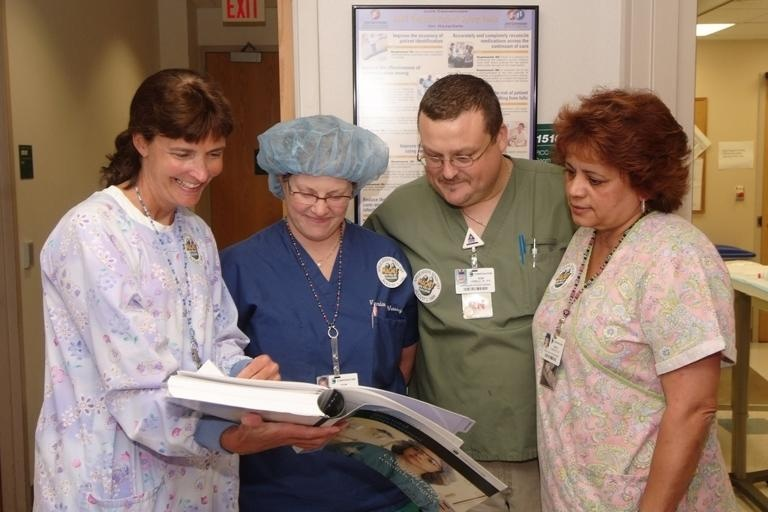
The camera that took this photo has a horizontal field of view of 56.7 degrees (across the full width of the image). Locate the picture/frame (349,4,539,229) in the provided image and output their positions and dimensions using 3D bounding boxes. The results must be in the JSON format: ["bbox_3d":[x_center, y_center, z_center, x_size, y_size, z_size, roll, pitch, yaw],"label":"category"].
[{"bbox_3d":[0.255,-0.602,2.907,0.939,1.263,0.045,0,2,-3],"label":"picture/frame"}]

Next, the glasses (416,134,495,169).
[{"bbox_3d":[0.272,-0.405,2.739,0.158,0.053,0.165,3,35,21],"label":"glasses"}]
